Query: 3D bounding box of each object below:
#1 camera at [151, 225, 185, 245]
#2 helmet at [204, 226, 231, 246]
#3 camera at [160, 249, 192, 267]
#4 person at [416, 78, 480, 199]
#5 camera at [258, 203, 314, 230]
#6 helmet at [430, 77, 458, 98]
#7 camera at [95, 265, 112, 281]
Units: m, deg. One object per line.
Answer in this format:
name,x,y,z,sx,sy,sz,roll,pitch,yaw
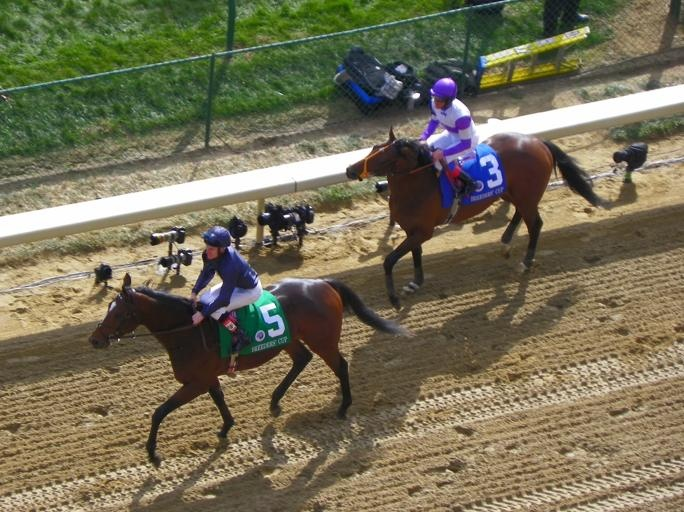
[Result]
camera,-2.288,-0.253,14.632,0.360,0.124,0.308,-9,15,-21
helmet,-1.382,-0.225,12.361,0.291,0.184,0.220,-22,31,-40
camera,-2.122,0.051,14.587,0.412,0.185,0.211,-16,33,-34
person,1.389,-1.567,14.390,0.707,1.596,0.584,-12,32,8
camera,-0.773,-0.554,15.135,0.888,0.329,0.304,-7,19,-22
helmet,1.290,-2.130,14.102,0.317,0.290,0.254,-10,29,5
camera,-3.077,0.242,14.348,0.220,0.218,0.090,6,25,-9
